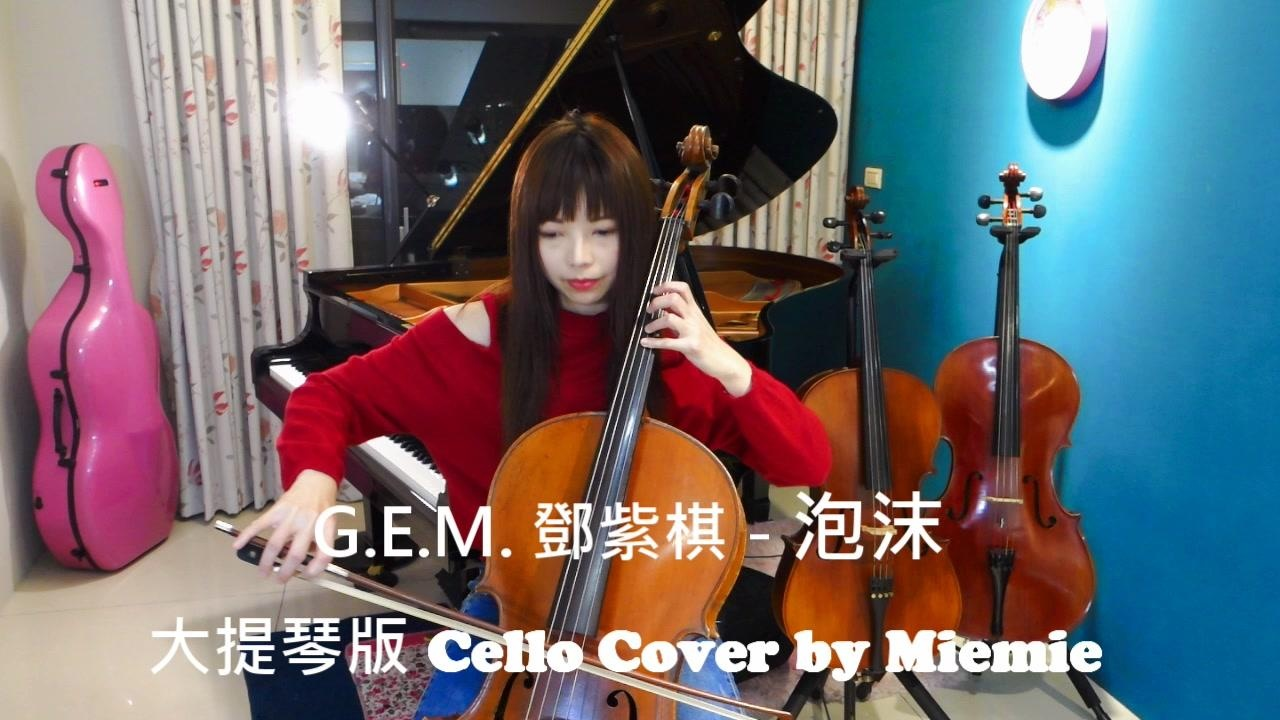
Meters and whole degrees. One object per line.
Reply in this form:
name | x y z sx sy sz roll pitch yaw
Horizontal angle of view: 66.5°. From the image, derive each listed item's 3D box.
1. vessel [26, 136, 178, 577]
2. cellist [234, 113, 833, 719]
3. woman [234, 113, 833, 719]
vessel | -2.569 0.004 4.612 0.602 2.015 0.271 -4 6 -24
cellist | -0.408 0.242 3.908 1.863 2.042 0.756 5 -4 -2
woman | -0.400 0.309 3.931 1.863 2.042 0.756 5 -4 -2
